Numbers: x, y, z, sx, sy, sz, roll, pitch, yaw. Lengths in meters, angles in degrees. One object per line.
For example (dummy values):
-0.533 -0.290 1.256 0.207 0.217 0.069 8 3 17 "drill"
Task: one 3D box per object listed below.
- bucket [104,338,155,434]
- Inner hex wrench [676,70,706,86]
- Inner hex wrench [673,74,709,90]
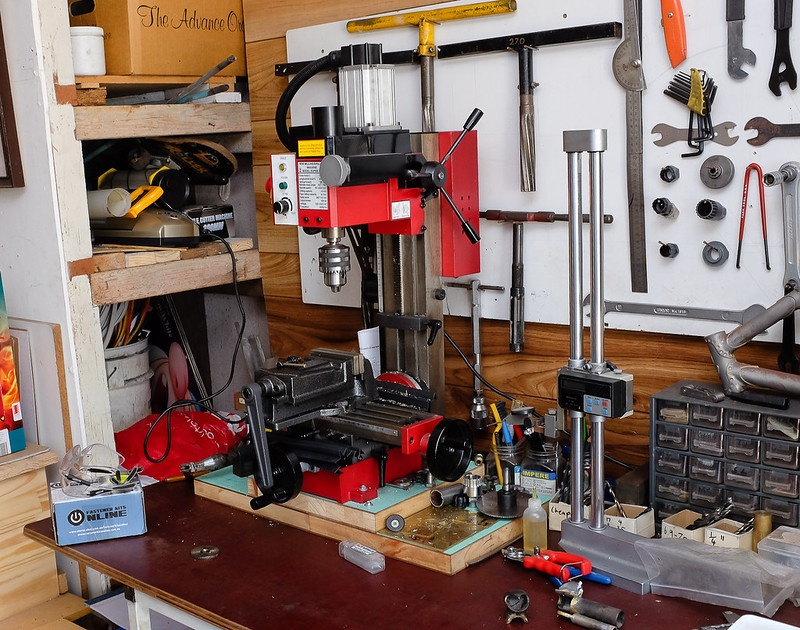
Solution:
-1.125 0.312 2.899 0.235 0.361 0.215 -4 8 1 "bucket"
0.784 -0.649 1.886 0.059 0.036 0.019 4 15 37 "Inner hex wrench"
0.787 -0.627 1.876 0.083 0.054 0.009 12 10 44 "Inner hex wrench"
